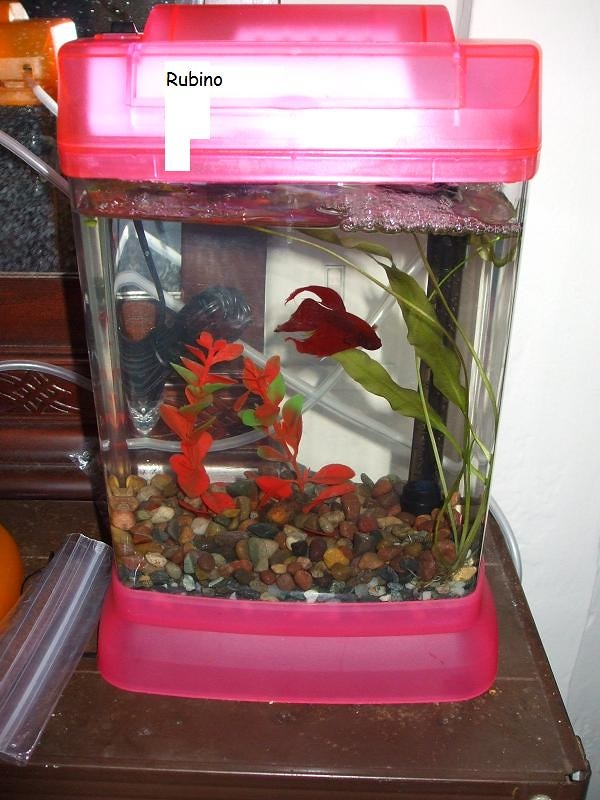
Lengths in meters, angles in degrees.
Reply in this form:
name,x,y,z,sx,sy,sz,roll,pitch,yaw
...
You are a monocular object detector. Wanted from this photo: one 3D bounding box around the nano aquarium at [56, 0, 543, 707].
name,x,y,z,sx,sy,sz,roll,pitch,yaw
nano aquarium,0.002,-0.009,0.540,0.375,0.571,0.173,1,27,-1
